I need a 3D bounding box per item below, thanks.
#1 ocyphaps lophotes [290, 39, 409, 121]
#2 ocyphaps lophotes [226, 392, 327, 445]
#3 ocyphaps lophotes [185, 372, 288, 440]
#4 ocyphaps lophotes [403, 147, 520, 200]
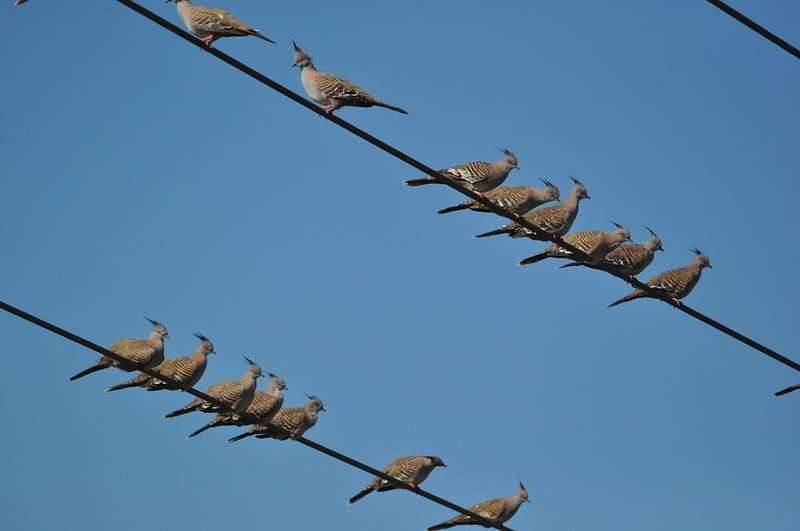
[{"bbox_3d":[-1.016,-2.607,27.714,1.484,4.504,0.649,27,-83,-7],"label":"ocyphaps lophotes"},{"bbox_3d":[-1.934,2.583,29.954,1.459,0.472,0.729,0,-105,15],"label":"ocyphaps lophotes"},{"bbox_3d":[-2.629,2.317,29.615,1.806,0.560,0.923,-3,-118,-6],"label":"ocyphaps lophotes"},{"bbox_3d":[1.043,-1.521,29.982,1.930,0.629,0.742,5,-89,13],"label":"ocyphaps lophotes"}]
